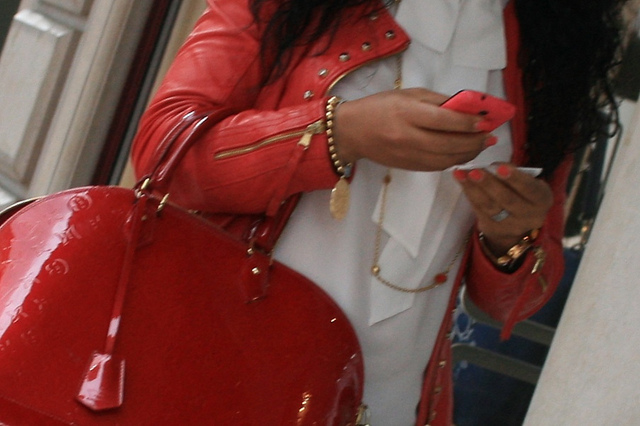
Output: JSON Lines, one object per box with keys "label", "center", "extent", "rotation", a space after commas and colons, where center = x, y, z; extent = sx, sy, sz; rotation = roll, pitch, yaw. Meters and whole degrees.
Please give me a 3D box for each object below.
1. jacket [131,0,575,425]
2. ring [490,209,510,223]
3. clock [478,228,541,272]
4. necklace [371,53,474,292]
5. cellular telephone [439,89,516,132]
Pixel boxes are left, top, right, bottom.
{"label": "jacket", "center": [0.048, -0.013, 0.827], "extent": [0.482, 0.624, 0.326], "rotation": [31, -2, -6]}
{"label": "ring", "center": [0.279, 0.002, 0.820], "extent": [0.011, 0.021, 0.017], "rotation": [55, 26, 5]}
{"label": "clock", "center": [0.319, 0.071, 0.897], "extent": [0.031, 0.086, 0.065], "rotation": [19, 19, -44]}
{"label": "necklace", "center": [0.153, -0.076, 0.836], "extent": [0.102, 0.333, 0.330], "rotation": [10, 10, -6]}
{"label": "cellular telephone", "center": [0.232, -0.140, 0.783], "extent": [0.081, 0.013, 0.110], "rotation": [43, 12, 3]}
